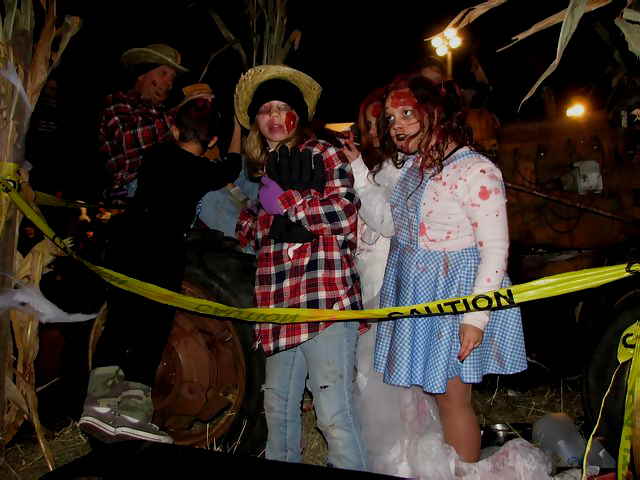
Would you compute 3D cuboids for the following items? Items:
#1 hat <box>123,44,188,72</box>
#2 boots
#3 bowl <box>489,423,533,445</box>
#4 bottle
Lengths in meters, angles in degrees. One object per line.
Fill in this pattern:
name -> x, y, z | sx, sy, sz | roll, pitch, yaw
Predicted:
hat -> -1.338, -1.468, 4.574 | 0.347, 0.112, 0.307 | 0, 0, -5
boots -> -1.219, 1.074, 3.619 | 0.251, 0.457, 0.708 | -24, -37, 23
bowl -> 1.279, 1.313, 3.865 | 0.271, 0.092, 0.192 | -4, -6, 23
bottle -> 1.500, 1.273, 3.615 | 0.324, 0.293, 0.512 | -2, 4, 17
